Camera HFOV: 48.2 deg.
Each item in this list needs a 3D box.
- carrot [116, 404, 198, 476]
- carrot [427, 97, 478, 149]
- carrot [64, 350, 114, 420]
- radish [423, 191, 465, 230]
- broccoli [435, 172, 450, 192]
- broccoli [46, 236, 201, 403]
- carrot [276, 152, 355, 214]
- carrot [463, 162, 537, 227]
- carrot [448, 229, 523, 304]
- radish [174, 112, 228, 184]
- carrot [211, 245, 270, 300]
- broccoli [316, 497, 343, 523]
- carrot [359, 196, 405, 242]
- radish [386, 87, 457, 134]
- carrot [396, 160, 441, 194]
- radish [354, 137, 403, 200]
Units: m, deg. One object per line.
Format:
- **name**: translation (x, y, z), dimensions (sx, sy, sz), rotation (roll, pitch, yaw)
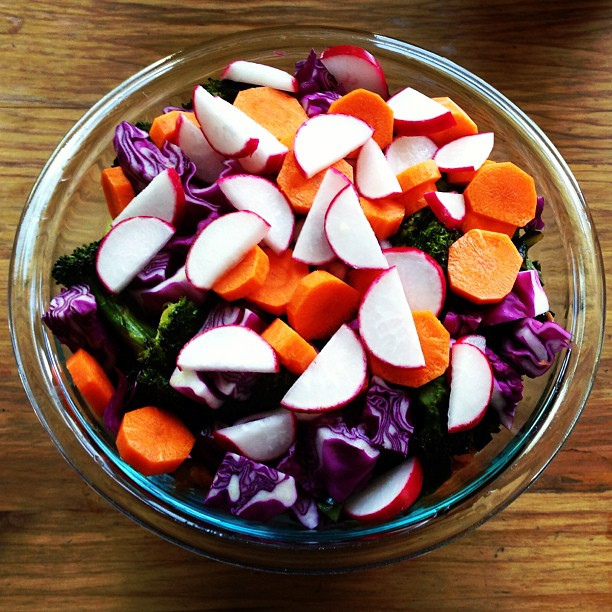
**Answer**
- **carrot**: translation (-0.378, 0.327, 1.695), dimensions (0.185, 0.212, 0.049), rotation (46, 113, 6)
- **carrot**: translation (0.432, -0.514, 1.912), dimensions (0.191, 0.060, 0.128), rotation (-4, 117, 30)
- **carrot**: translation (-0.518, 0.195, 1.710), dimensions (0.047, 0.172, 0.159), rotation (-33, 41, 15)
- **radish**: translation (0.369, -0.252, 1.760), dimensions (0.129, 0.047, 0.095), rotation (-11, 74, -45)
- **broccoli**: translation (0.365, -0.330, 1.831), dimensions (0.068, 0.017, 0.045), rotation (0, 86, -24)
- **broccoli**: translation (-0.414, 0.055, 1.821), dimensions (0.327, 0.203, 0.491), rotation (-38, 79, -6)
- **carrot**: translation (-0.011, -0.309, 1.696), dimensions (0.223, 0.041, 0.141), rotation (-1, 78, 5)
- **carrot**: translation (0.516, -0.291, 1.771), dimensions (0.191, 0.037, 0.161), rotation (22, 84, 2)
- **carrot**: translation (0.443, -0.094, 1.671), dimensions (0.254, 0.047, 0.157), rotation (0, 85, -3)
- **radish**: translation (-0.281, -0.415, 1.816), dimensions (0.173, 0.065, 0.173), rotation (-7, 104, -2)
- **carrot**: translation (-0.118, -0.075, 1.694), dimensions (0.035, 0.152, 0.133), rotation (52, 49, -18)
- **broccoli**: translation (0.058, 0.496, 1.687), dimensions (0.077, 0.061, 0.022), rotation (4, 35, -8)
- **carrot**: translation (0.198, -0.228, 1.780), dimensions (0.146, 0.090, 0.095), rotation (10, 100, -12)
- **radish**: translation (0.280, -0.528, 1.858), dimensions (0.142, 0.051, 0.192), rotation (-27, 50, 8)
- **carrot**: translation (0.286, -0.332, 1.754), dimensions (0.121, 0.038, 0.059), rotation (-27, 84, -3)
- **radish**: translation (0.181, -0.331, 1.713), dimensions (0.170, 0.073, 0.144), rotation (-3, 86, 7)
